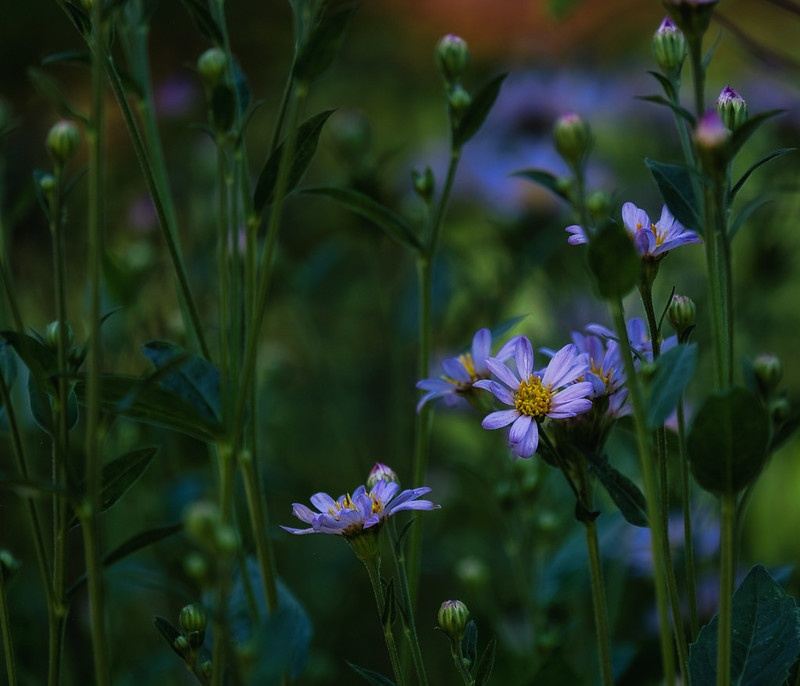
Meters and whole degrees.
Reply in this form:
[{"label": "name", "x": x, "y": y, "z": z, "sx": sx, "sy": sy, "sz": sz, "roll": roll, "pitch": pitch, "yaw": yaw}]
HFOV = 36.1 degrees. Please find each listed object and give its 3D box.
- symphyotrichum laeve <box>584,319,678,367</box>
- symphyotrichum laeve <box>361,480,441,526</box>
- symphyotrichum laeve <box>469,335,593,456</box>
[{"label": "symphyotrichum laeve", "x": 0.144, "y": -0.001, "z": 0.761, "sx": 0.034, "sy": 0.013, "sz": 0.035, "roll": 30, "pitch": 31, "yaw": 30}, {"label": "symphyotrichum laeve", "x": -0.001, "y": 0.095, "z": 0.745, "sx": 0.043, "sy": 0.031, "sz": 0.067, "roll": -8, "pitch": 5, "yaw": -1}, {"label": "symphyotrichum laeve", "x": 0.081, "y": 0.030, "z": 0.746, "sx": 0.071, "sy": 0.069, "sz": 0.073, "roll": -7, "pitch": 4, "yaw": -1}]
